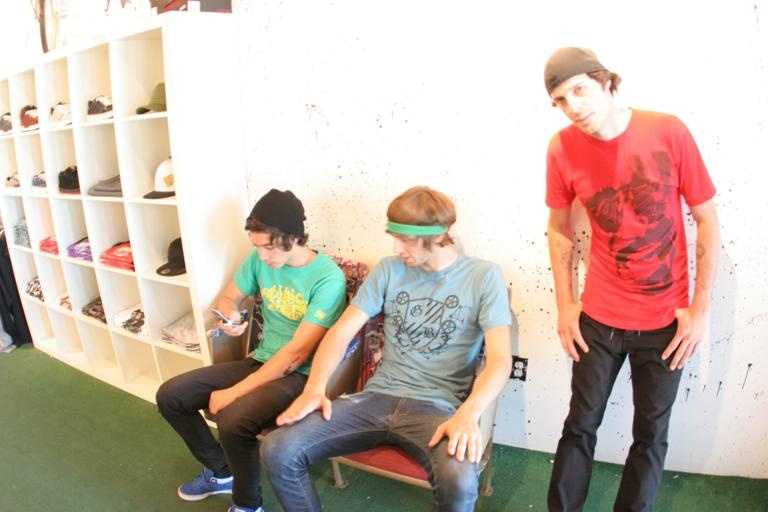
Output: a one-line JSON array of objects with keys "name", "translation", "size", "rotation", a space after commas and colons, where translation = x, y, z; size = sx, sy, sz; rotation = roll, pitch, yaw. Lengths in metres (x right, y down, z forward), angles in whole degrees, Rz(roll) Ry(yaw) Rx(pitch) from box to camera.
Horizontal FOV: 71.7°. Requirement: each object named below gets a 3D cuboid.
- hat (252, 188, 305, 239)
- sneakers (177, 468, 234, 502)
[{"name": "hat", "translation": [-0.646, -0.288, 3.156], "size": [0.329, 0.244, 0.355], "rotation": [-3, 25, 2]}, {"name": "sneakers", "translation": [-1.050, 1.357, 3.210], "size": [0.374, 0.177, 0.155], "rotation": [0, 45, -19]}]
